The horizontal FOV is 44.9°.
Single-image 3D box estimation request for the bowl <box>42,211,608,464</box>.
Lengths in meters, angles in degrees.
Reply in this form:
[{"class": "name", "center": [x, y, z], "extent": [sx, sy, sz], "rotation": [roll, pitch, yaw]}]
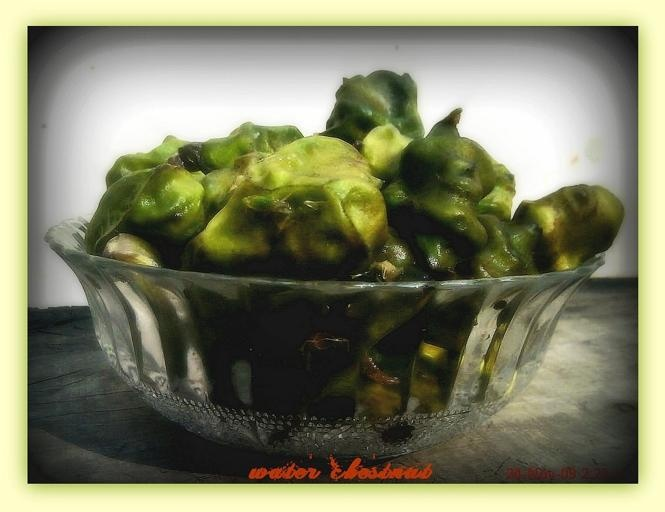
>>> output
[{"class": "bowl", "center": [-0.029, 0.138, 1.183], "extent": [0.727, 0.249, 0.709], "rotation": [2, 0, 0]}]
